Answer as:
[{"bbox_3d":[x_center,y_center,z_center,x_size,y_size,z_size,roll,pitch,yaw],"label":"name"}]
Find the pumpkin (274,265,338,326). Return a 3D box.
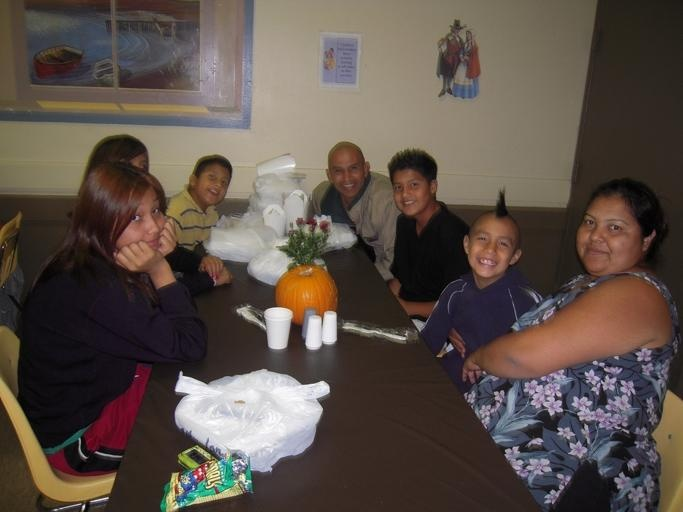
[{"bbox_3d":[-0.131,0.117,1.876,0.209,0.207,0.214,-4,10,-19],"label":"pumpkin"}]

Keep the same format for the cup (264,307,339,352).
[{"bbox_3d":[-0.136,0.255,1.739,0.250,0.142,0.122,2,14,-6],"label":"cup"}]
